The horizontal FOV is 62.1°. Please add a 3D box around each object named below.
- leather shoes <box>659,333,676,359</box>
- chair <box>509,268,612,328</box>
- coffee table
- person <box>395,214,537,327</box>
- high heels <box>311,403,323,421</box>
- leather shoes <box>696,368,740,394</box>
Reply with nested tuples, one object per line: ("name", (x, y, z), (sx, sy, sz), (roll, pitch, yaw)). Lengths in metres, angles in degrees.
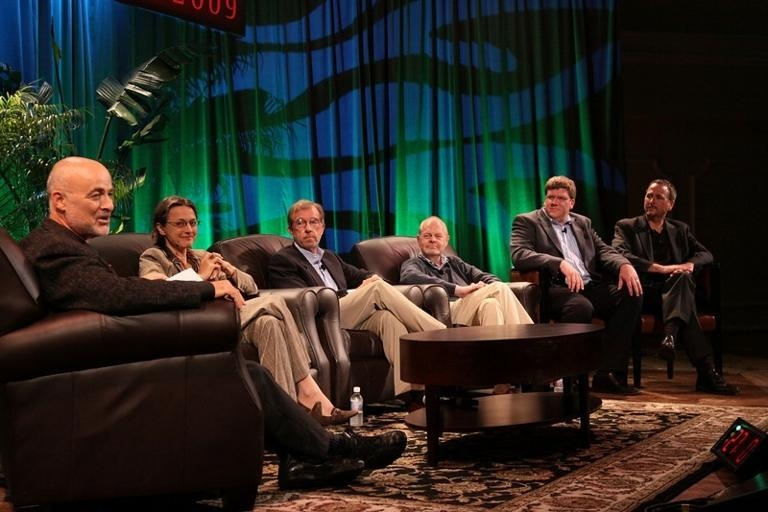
("leather shoes", (1.939, 0.615, 4.323), (0.090, 0.182, 0.264), (-2, -1, 27))
("chair", (1.123, 0.278, 4.369), (0.412, 0.419, 0.396), (0, -10, 4))
("coffee table", (0.503, 0.500, 2.988), (0.928, 0.459, 0.619), (-2, 4, -21))
("person", (0.550, 0.096, 4.480), (0.412, 0.677, 0.875), (-4, 35, -26))
("high heels", (-0.345, 0.804, 3.292), (0.039, 0.045, 0.105), (8, 37, -24))
("leather shoes", (2.197, 0.838, 4.213), (0.114, 0.117, 0.275), (1, -8, -23))
